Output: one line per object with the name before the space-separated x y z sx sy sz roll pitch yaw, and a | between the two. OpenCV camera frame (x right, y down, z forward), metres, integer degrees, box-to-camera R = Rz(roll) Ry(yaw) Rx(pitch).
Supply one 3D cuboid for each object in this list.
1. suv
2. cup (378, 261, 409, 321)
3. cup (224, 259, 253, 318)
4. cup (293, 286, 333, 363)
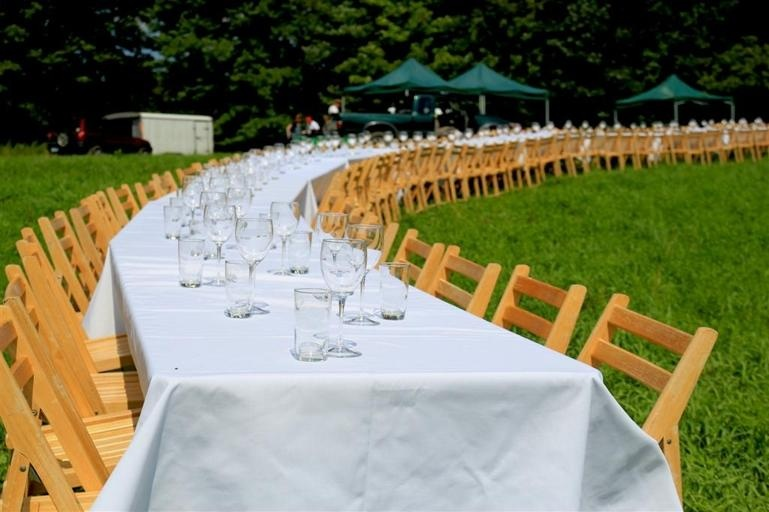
suv | -9.586 -3.852 26.715 2.925 1.818 1.693 -7 12 -34
cup | 0.044 0.166 3.658 0.179 0.377 0.206 1 2 1
cup | -0.682 0.187 3.704 0.153 0.333 0.179 3 26 -11
cup | -0.279 0.283 3.347 0.194 0.416 0.226 0 5 -4
